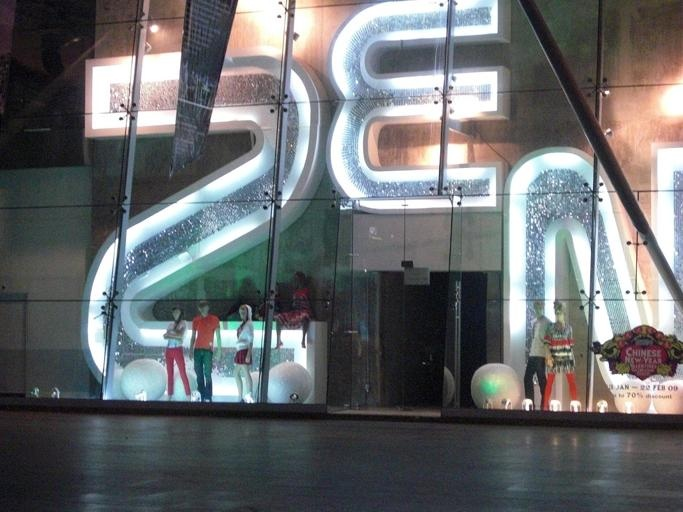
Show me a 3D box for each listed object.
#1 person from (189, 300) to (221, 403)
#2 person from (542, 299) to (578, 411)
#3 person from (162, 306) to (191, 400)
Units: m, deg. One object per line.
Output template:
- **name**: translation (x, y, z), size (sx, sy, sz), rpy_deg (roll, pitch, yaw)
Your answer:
- **person**: translation (-1.917, 1.339, 12.428), size (0.448, 1.393, 0.118), rpy_deg (-3, -8, 17)
- **person**: translation (2.802, 1.269, 11.308), size (0.420, 1.367, 0.103), rpy_deg (0, -8, -5)
- **person**: translation (-2.327, 1.380, 12.478), size (0.405, 1.276, 0.102), rpy_deg (-3, -8, 21)
